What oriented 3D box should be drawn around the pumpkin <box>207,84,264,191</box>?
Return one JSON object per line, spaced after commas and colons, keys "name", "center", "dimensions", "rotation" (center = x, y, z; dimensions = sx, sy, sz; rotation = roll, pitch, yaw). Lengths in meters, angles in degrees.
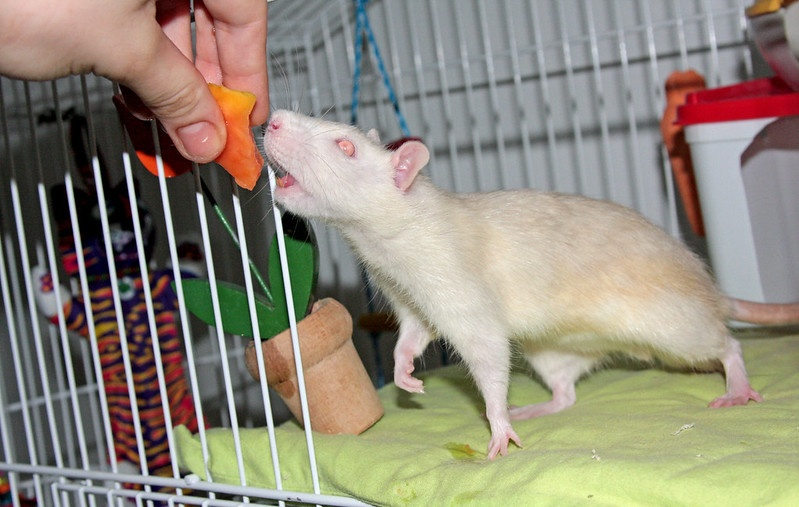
{"name": "pumpkin", "center": [-0.487, -0.379, 2.385], "dimensions": [0.242, 0.251, 0.081], "rotation": [-25, 63, 6]}
